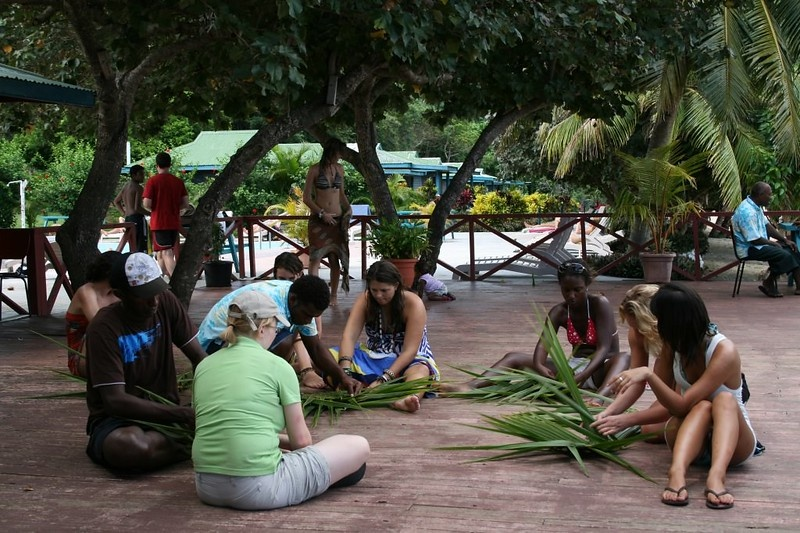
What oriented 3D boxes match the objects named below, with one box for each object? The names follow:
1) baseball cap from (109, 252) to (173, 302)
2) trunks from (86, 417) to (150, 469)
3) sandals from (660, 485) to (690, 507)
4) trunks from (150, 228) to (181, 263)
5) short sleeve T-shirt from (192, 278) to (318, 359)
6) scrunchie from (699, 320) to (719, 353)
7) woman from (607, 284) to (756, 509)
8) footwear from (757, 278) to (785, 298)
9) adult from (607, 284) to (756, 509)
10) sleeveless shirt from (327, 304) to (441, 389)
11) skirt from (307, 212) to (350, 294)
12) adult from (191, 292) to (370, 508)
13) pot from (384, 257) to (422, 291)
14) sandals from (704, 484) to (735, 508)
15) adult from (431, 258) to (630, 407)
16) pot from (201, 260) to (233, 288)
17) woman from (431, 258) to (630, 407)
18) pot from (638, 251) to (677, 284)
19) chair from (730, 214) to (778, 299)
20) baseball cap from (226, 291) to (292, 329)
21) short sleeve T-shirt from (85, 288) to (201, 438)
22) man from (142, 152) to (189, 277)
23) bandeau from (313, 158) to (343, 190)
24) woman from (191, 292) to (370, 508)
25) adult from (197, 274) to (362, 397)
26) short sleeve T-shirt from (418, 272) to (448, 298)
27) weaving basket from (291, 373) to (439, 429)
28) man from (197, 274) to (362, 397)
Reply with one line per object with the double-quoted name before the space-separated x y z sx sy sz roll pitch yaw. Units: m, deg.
"baseball cap" -1.537 0.057 4.514 0.305 0.164 0.228 1 14 13
"trunks" -1.767 1.021 4.602 0.273 0.160 0.336 6 9 -26
"sandals" 1.476 1.228 4.093 0.142 0.097 0.087 1 2 13
"trunks" -3.272 -0.299 10.616 0.496 0.500 0.293 0 5 -17
"short sleeve T-shirt" -0.997 0.430 5.549 0.972 0.583 0.575 -5 -1 2
"scrunchie" 1.766 0.409 4.378 0.133 0.178 0.075 5 -4 -16
"woman" 1.661 0.689 4.336 0.758 1.172 0.724 1 2 22
"footwear" 4.569 0.272 9.290 0.379 0.276 0.131 5 4 14
"adult" 1.659 0.689 4.337 0.745 1.172 0.724 1 2 22
"sleeveless shirt" -0.075 0.700 5.934 0.839 0.664 0.497 -3 -11 11
"skirt" -0.827 -0.182 9.151 0.504 1.111 0.273 3 -32 -5
"adult" -0.742 0.769 4.451 1.138 1.192 0.956 1 -4 11
"pot" 0.046 0.082 9.593 0.358 0.382 0.364 -5 8 1
"sandals" 1.694 1.234 4.055 0.144 0.095 0.096 1 2 22
"adult" 1.216 0.442 5.494 1.498 1.027 1.229 4 -4 -45
"pot" -2.638 0.108 11.071 0.390 0.292 0.392 -1 1 0
"woman" 1.177 0.423 5.397 1.568 1.070 1.210 3 -4 -31
"pot" 3.461 0.004 10.226 0.443 0.344 0.403 0 -5 0
"chair" 4.481 -0.085 9.643 0.574 0.890 0.573 -4 -4 17
"baseball cap" -0.793 0.232 4.152 0.262 0.139 0.176 1 7 -41
"short sleeve T-shirt" -1.574 0.601 4.608 0.459 0.776 0.610 23 29 20
"man" -3.311 -0.654 10.614 0.561 1.887 0.633 16 20 40
"bandeau" -0.855 -1.048 9.074 0.459 0.435 0.250 -4 9 -33
"woman" -0.755 0.779 4.434 1.090 1.169 0.915 1 -3 16
"adult" -0.805 0.407 5.366 1.210 0.743 0.617 7 14 24
"short sleeve T-shirt" 0.403 0.235 9.814 0.246 0.128 0.321 21 -2 -31
"weaving basket" -0.278 0.895 5.386 0.724 0.196 0.376 -6 -6 -20
"man" -0.790 0.424 5.351 1.198 0.734 0.621 8 16 25
